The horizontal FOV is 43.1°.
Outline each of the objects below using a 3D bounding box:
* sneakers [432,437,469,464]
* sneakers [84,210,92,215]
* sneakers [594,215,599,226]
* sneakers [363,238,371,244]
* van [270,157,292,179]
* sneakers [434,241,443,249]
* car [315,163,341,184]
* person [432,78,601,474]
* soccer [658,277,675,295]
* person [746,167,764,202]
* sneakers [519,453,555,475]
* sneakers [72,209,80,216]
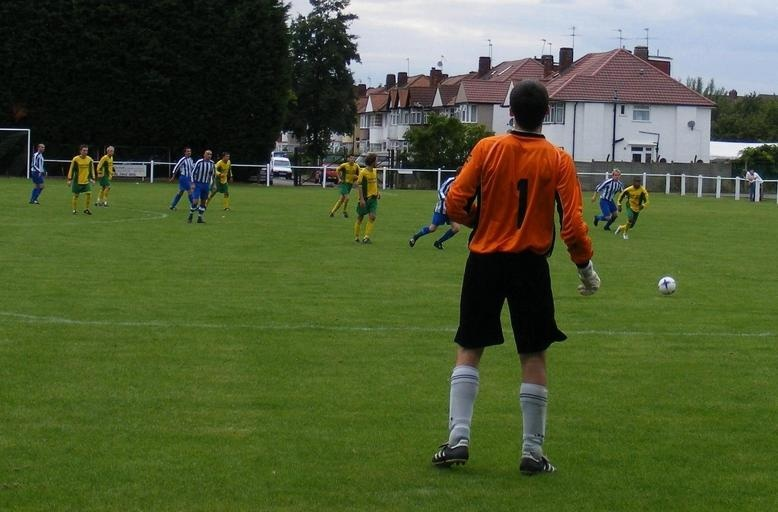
[{"bbox_3d":[0.582,1.873,9.345,0.166,0.193,0.406,8,-9,-29],"label":"sneakers"},{"bbox_3d":[-8.109,-1.182,26.376,0.126,0.139,0.360,-6,7,-39],"label":"sneakers"},{"bbox_3d":[5.768,-0.994,27.370,0.123,0.152,0.353,-1,-36,10],"label":"sneakers"},{"bbox_3d":[-0.498,-0.361,21.654,0.155,0.118,0.304,4,5,0],"label":"sneakers"},{"bbox_3d":[-6.549,-5.398,59.617,1.308,1.140,2.270,-1,-3,-12],"label":"van"},{"bbox_3d":[1.037,-0.266,21.056,0.247,0.106,0.091,37,-7,47],"label":"sneakers"},{"bbox_3d":[-3.234,-4.573,54.787,1.785,1.479,3.598,0,5,-5],"label":"car"},{"bbox_3d":[1.165,0.171,9.330,1.353,3.683,0.417,4,4,2],"label":"person"},{"bbox_3d":[4.481,0.472,15.823,0.283,0.265,0.273,1,-3,-4],"label":"soccer"},{"bbox_3d":[17.886,-3.449,48.183,0.763,1.434,2.700,5,5,20],"label":"person"},{"bbox_3d":[1.392,1.946,9.287,0.334,0.133,0.152,1,5,-31],"label":"sneakers"},{"bbox_3d":[-8.510,-1.198,26.679,0.154,0.169,0.441,0,-2,-24],"label":"sneakers"}]
